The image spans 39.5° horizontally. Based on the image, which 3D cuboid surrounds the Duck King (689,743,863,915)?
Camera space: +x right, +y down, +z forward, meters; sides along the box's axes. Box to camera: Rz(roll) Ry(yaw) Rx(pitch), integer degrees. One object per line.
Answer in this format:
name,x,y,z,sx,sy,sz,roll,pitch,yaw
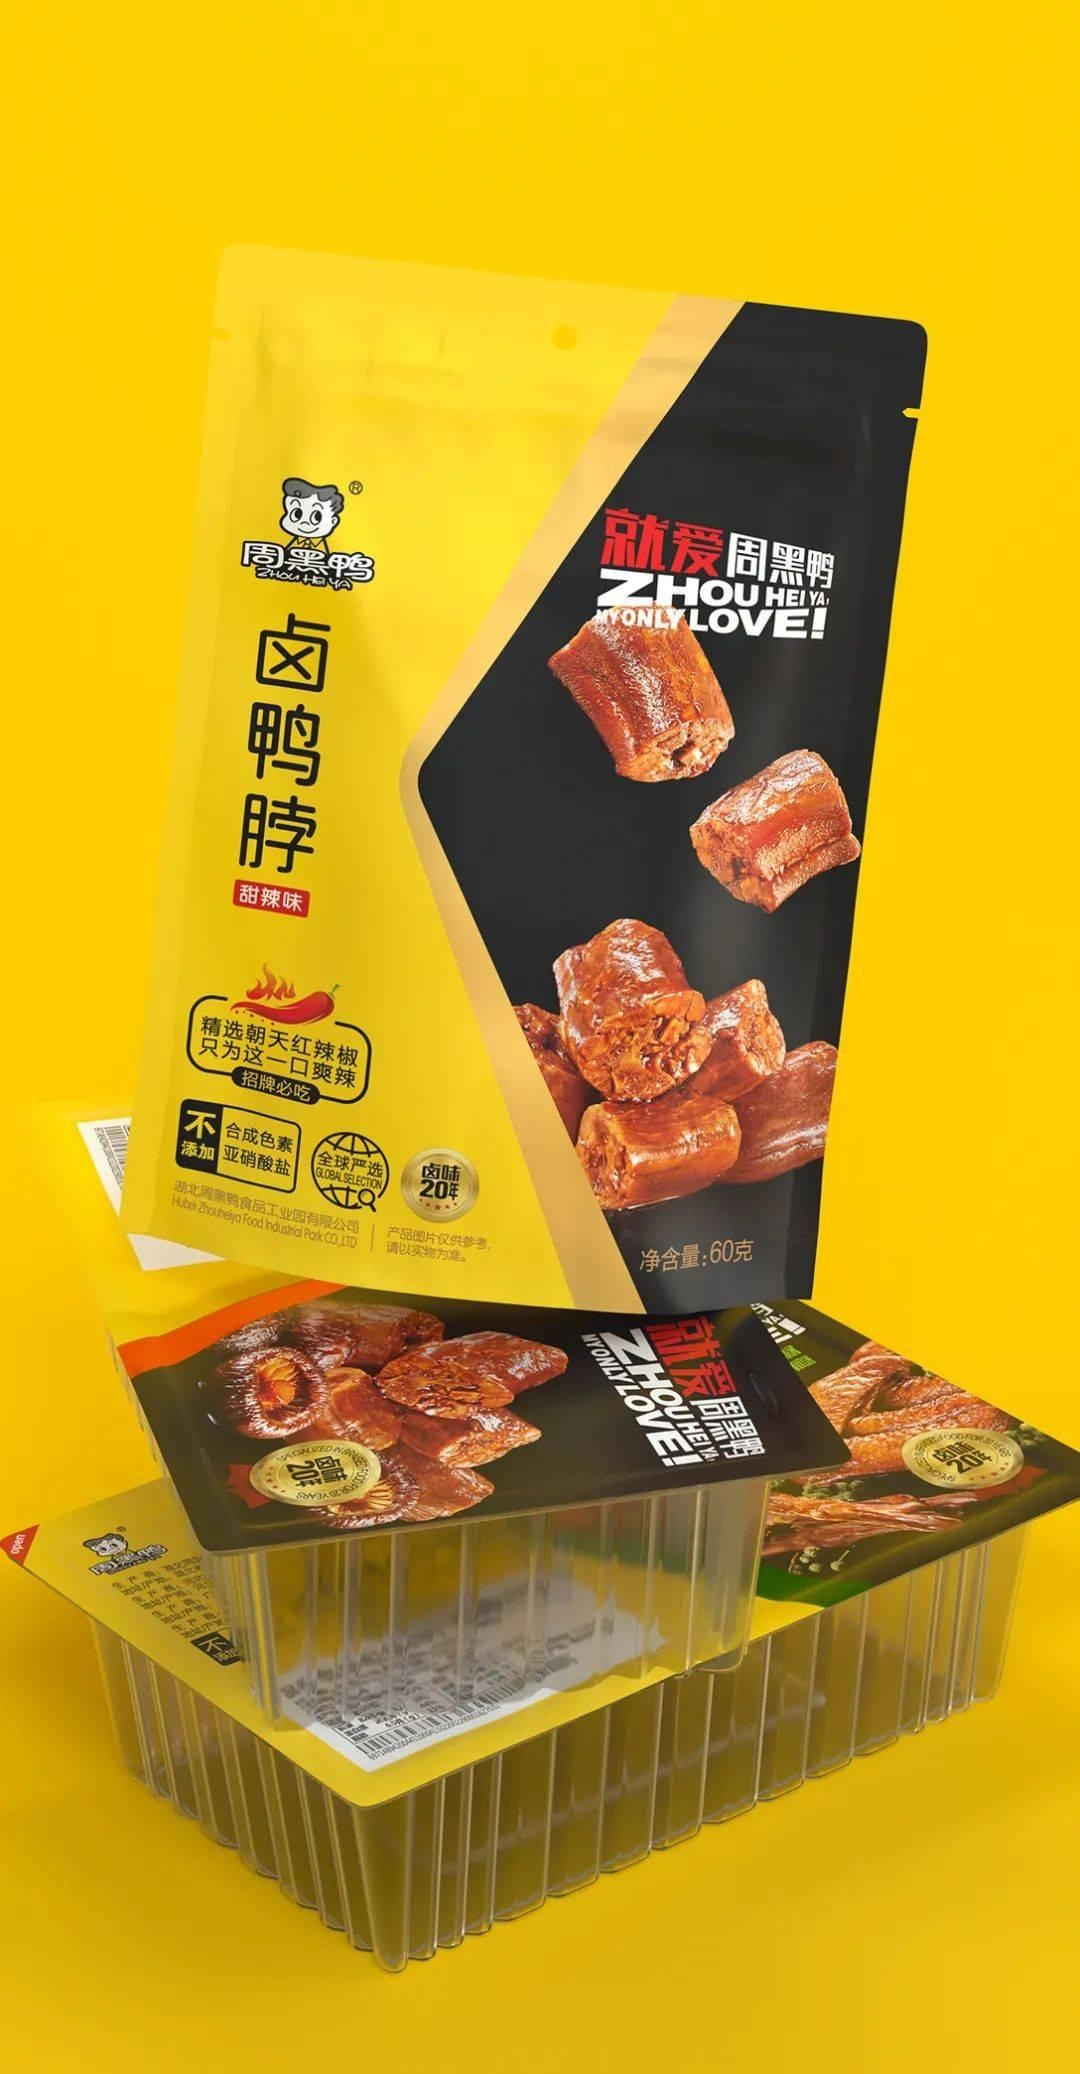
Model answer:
Duck King,0.123,-0.107,0.755,0.086,0.034,0.073,-29,61,-21
